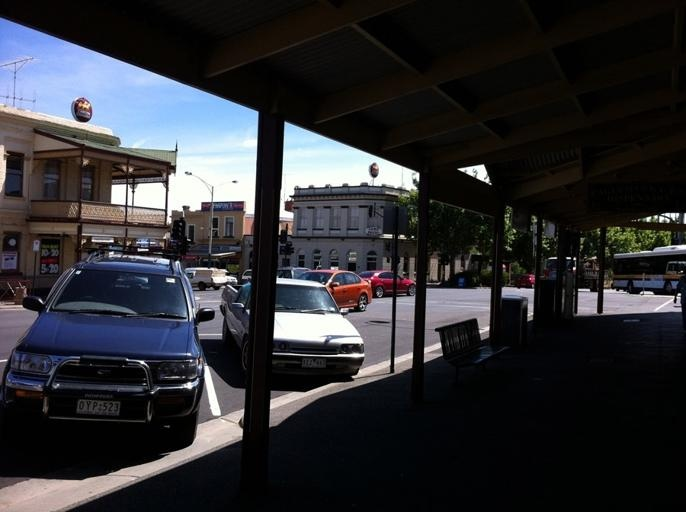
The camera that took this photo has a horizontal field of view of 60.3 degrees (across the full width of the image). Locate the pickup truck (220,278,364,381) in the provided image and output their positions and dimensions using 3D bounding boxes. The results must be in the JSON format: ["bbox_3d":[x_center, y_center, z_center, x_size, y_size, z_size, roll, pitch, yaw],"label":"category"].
[{"bbox_3d":[-1.136,1.384,11.904,2.183,1.810,3.273,2,-1,-19],"label":"pickup truck"}]

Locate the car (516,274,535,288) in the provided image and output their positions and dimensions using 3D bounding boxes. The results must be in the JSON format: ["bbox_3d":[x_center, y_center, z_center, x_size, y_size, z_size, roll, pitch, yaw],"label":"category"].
[{"bbox_3d":[17.486,2.378,56.566,1.378,1.235,2.627,1,-1,10],"label":"car"}]

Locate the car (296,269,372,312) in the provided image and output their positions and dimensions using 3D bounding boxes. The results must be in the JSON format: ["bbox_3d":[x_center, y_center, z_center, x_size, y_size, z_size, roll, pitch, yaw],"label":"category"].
[{"bbox_3d":[-0.025,1.471,24.942,1.390,1.150,3.067,-1,-10,35],"label":"car"}]

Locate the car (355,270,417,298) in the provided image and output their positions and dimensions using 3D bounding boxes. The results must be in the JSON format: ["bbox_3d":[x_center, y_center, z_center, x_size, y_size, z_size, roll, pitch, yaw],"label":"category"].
[{"bbox_3d":[2.984,1.627,36.662,3.853,1.373,1.758,-2,3,-38],"label":"car"}]

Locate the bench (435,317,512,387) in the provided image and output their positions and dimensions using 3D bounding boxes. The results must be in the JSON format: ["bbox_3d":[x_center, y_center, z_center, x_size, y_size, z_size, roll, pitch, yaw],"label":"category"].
[{"bbox_3d":[2.428,1.648,10.726,0.746,0.929,2.529,-5,-4,26],"label":"bench"}]

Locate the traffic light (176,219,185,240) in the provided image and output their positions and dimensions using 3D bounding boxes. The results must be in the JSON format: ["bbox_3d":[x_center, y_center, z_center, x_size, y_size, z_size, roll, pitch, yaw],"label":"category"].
[{"bbox_3d":[-7.553,-1.256,27.273,0.290,0.768,1.358,2,-1,-16],"label":"traffic light"}]
